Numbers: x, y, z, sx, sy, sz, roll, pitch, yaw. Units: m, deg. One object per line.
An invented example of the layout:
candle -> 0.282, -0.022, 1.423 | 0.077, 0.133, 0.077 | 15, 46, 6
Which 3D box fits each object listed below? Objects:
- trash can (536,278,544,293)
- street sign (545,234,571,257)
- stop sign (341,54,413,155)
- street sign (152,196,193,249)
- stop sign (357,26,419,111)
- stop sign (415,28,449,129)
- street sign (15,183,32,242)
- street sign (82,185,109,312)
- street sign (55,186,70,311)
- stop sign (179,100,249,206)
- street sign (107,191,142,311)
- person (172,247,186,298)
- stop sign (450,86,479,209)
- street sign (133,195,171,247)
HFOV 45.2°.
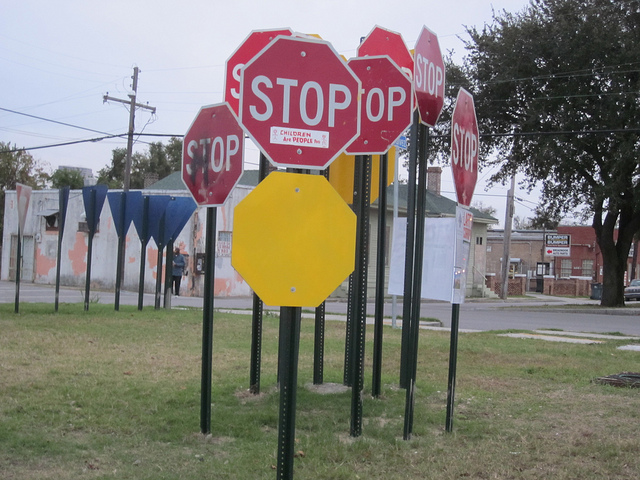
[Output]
trash can -> 17.790, 3.639, 62.336 | 0.510, 1.163, 0.589 | 2, -3, 8
street sign -> 20.889, 0.404, 67.888 | 1.533, 1.628, 0.668 | 0, -6, 22
stop sign -> 0.644, -1.766, 9.952 | 1.211, 1.269, 0.038 | 4, 3, 34
street sign -> -3.594, -0.285, 19.172 | 0.988, 0.385, 1.681 | 6, -46, -30
stop sign -> 0.895, -2.576, 10.622 | 0.862, 0.029, 1.133 | 11, 44, 0
stop sign -> 1.431, -2.131, 10.131 | 0.272, 1.221, 0.885 | 1, -4, 17
street sign -> -6.784, -0.679, 17.467 | 0.289, 1.348, 2.214 | 3, -4, -21
street sign -> -5.529, 0.187, 18.566 | 0.561, 3.030, 2.506 | 3, -4, -17
street sign -> -6.165, 0.172, 18.216 | 0.202, 2.933, 2.741 | 3, -4, -18
stop sign -> -1.356, -1.104, 9.704 | 0.481, 1.333, 1.111 | 5, -4, -39
street sign -> -4.740, 0.329, 19.175 | 0.942, 3.102, 0.101 | 2, 14, 20
person -> -4.767, 1.064, 25.709 | 0.369, 1.599, 1.909 | 2, -4, -10
stop sign -> 1.854, -1.200, 9.908 | 0.234, 1.582, 0.858 | 0, -4, 32
street sign -> -4.138, -0.686, 18.784 | 0.783, 1.396, 0.305 | 11, 4, -1
